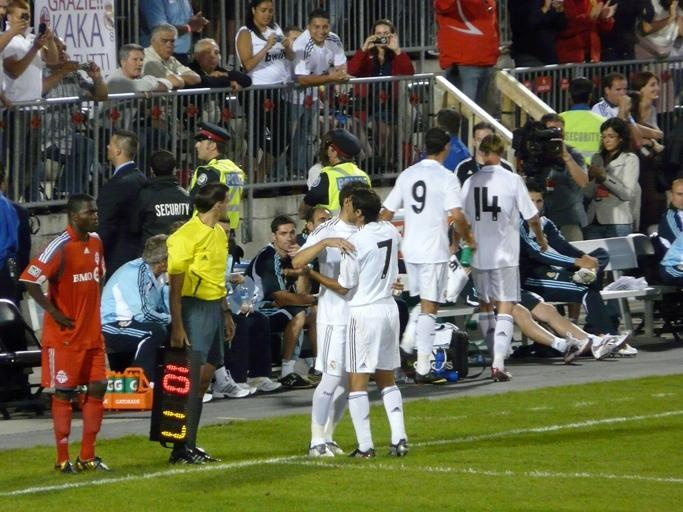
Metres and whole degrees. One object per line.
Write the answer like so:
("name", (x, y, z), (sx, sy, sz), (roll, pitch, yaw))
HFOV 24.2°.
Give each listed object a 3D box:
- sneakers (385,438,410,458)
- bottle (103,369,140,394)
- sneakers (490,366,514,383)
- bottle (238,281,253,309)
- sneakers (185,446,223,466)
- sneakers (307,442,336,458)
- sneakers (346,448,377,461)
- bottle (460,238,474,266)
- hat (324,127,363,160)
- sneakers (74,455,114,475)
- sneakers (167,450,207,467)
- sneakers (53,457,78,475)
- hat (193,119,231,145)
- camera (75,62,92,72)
("sneakers", (0.530, 1.777, 14.965), (0.171, 0.157, 0.134), (-4, 1, 38))
("bottle", (-2.299, 1.298, 16.745), (0.365, 0.273, 0.129), (2, -2, 2))
("sneakers", (1.829, 1.340, 18.288), (0.101, 0.148, 0.287), (0, -1, 35))
("bottle", (-1.071, 0.442, 17.861), (0.200, 0.241, 0.177), (-5, 2, -9))
("sneakers", (-1.253, 1.846, 14.856), (0.354, 0.169, 0.120), (-2, 2, 19))
("sneakers", (-0.197, 1.792, 14.967), (0.187, 0.101, 0.126), (0, 2, 36))
("sneakers", (0.199, 1.820, 14.851), (0.240, 0.107, 0.092), (1, 3, 18))
("bottle", (1.510, -0.040, 19.225), (0.213, 0.233, 0.089), (11, -10, -6))
("hat", (0.029, -1.312, 18.547), (0.402, 0.332, 0.250), (-2, -3, 0))
("sneakers", (-2.271, 1.897, 14.659), (0.332, 0.158, 0.130), (4, 2, -7))
("sneakers", (-1.432, 1.860, 14.833), (0.334, 0.161, 0.124), (0, 0, 12))
("sneakers", (-2.522, 1.919, 14.634), (0.191, 0.090, 0.090), (-2, 0, 42))
("hat", (-1.511, -1.440, 18.650), (0.386, 0.183, 0.325), (8, 9, 8))
("camera", (-3.187, -2.352, 19.726), (0.152, 0.092, 0.229), (1, 4, 6))
